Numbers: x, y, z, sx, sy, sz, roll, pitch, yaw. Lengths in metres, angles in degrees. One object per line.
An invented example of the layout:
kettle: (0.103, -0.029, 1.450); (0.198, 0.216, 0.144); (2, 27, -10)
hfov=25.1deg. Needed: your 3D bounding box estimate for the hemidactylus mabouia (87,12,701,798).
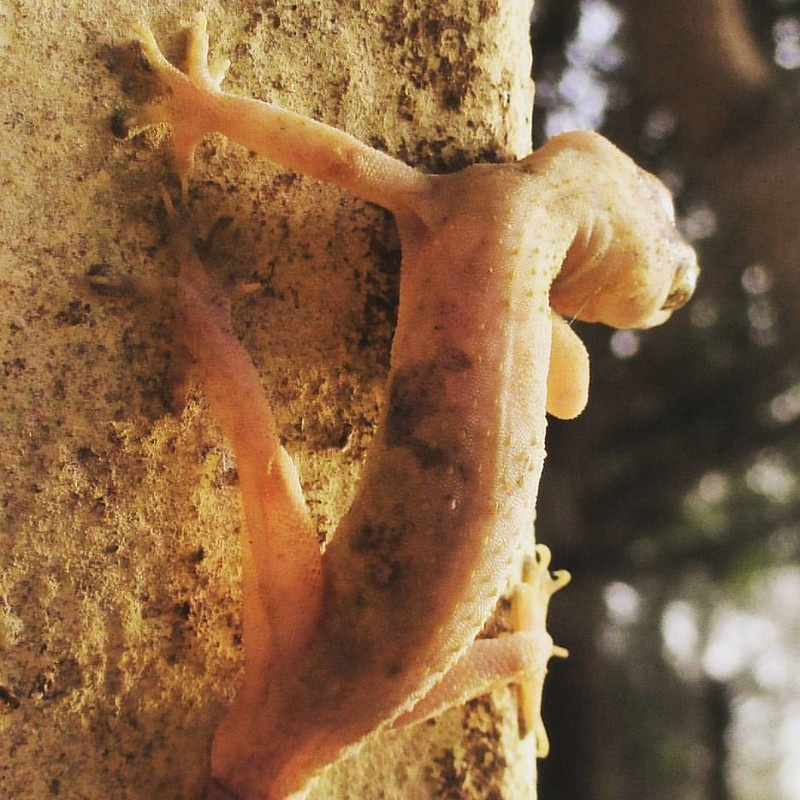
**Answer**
hemidactylus mabouia: (-0.040, 0.005, 2.281); (0.662, 0.240, 0.925); (31, 73, -25)
